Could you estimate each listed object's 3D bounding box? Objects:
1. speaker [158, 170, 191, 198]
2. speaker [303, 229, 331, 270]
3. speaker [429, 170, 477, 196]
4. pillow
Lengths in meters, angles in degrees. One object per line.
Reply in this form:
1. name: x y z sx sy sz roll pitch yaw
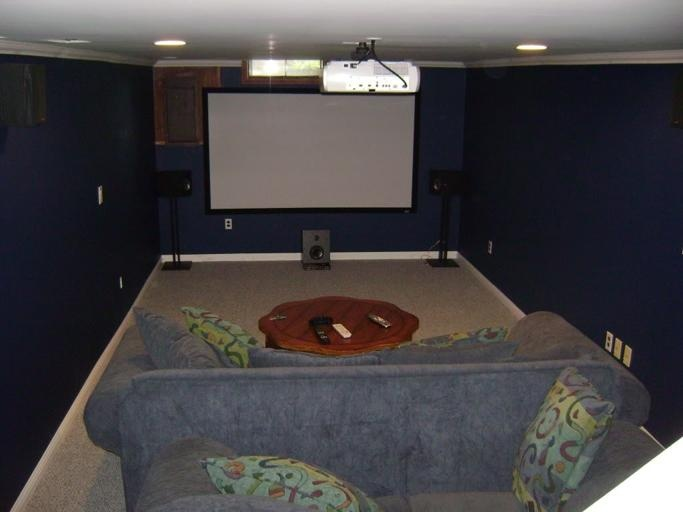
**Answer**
1. speaker: -1.913 -0.837 6.437 0.506 0.439 0.278 -1 6 -13
2. speaker: -0.309 -0.080 6.758 0.425 0.609 0.311 -1 7 -5
3. speaker: 1.320 -0.885 6.585 0.514 0.338 0.300 1 12 6
4. pillow: 0.557 0.645 2.257 1.392 0.650 0.639 -1 22 3
